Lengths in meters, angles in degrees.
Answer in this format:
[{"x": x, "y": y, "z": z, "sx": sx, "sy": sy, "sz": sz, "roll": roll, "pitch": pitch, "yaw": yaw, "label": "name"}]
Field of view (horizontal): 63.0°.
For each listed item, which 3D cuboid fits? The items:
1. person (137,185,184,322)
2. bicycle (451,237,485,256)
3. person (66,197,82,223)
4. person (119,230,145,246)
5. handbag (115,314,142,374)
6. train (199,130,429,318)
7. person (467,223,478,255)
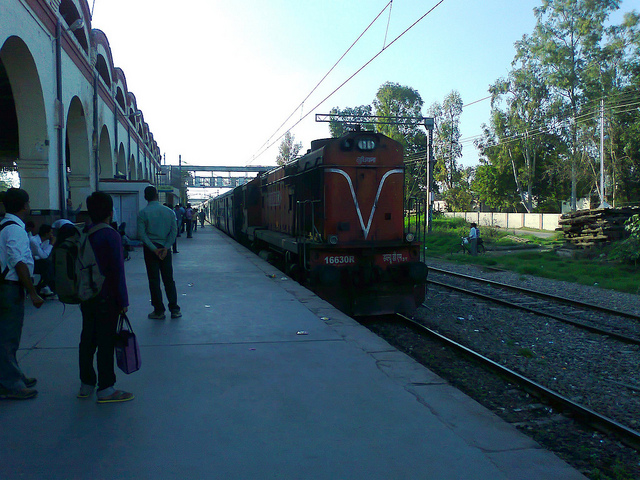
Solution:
[{"x": -2.808, "y": 0.248, "z": 9.200, "sx": 0.760, "sy": 2.315, "sz": 0.791, "roll": 0, "pitch": 9, "yaw": -22, "label": "person"}, {"x": 6.751, "y": 0.468, "z": 24.349, "sx": 1.444, "sy": 1.071, "sz": 0.819, "roll": -5, "pitch": 11, "yaw": -3, "label": "bicycle"}, {"x": -8.459, "y": -1.089, "z": 17.911, "sx": 0.348, "sy": 0.376, "sz": 1.095, "roll": -16, "pitch": 7, "yaw": -32, "label": "person"}, {"x": -5.871, "y": -0.060, "z": 16.211, "sx": 0.739, "sy": 0.815, "sz": 0.613, "roll": 1, "pitch": 1, "yaw": -11, "label": "person"}, {"x": -2.347, "y": 1.315, "z": 6.376, "sx": 0.294, "sy": 0.832, "sz": 0.518, "roll": 0, "pitch": 10, "yaw": -23, "label": "handbag"}, {"x": -0.971, "y": -1.265, "z": 19.000, "sx": 2.897, "sy": 5.424, "sz": 17.775, "roll": 0, "pitch": 6, "yaw": -21, "label": "train"}, {"x": 6.664, "y": -0.099, "z": 22.718, "sx": 0.462, "sy": 1.329, "sz": 1.207, "roll": 6, "pitch": 9, "yaw": 17, "label": "person"}]
